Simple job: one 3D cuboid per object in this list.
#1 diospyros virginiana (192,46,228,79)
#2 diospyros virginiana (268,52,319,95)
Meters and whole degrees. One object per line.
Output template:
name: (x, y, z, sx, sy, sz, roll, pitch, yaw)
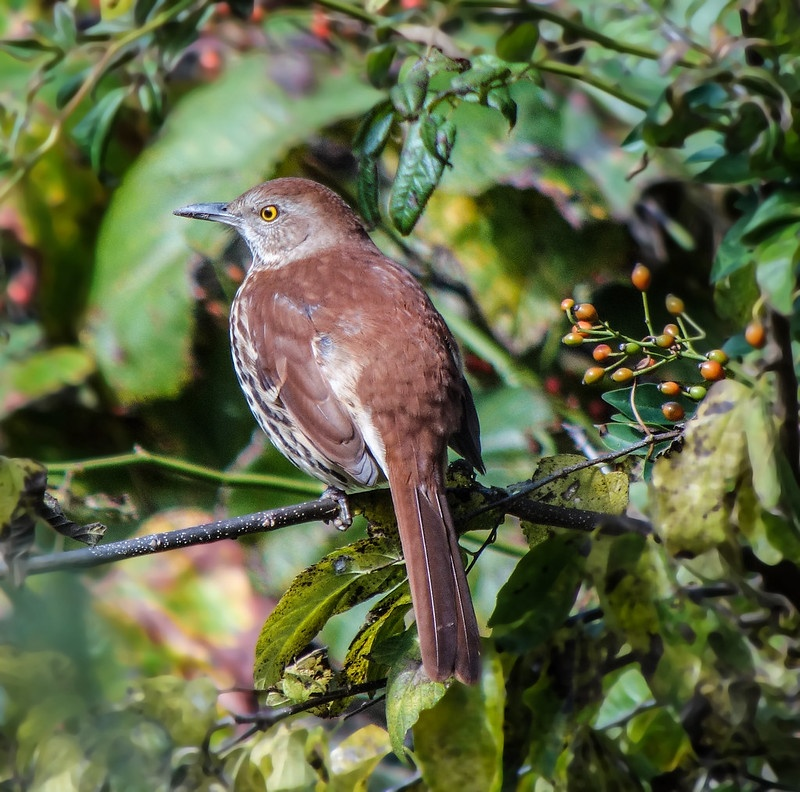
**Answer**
diospyros virginiana: (-0.582, -1.022, 3.732, 0.080, 0.040, 0.097, 6, 73, 4)
diospyros virginiana: (-0.327, -0.977, 3.683, 0.132, 0.025, 0.168, -14, 73, -2)
